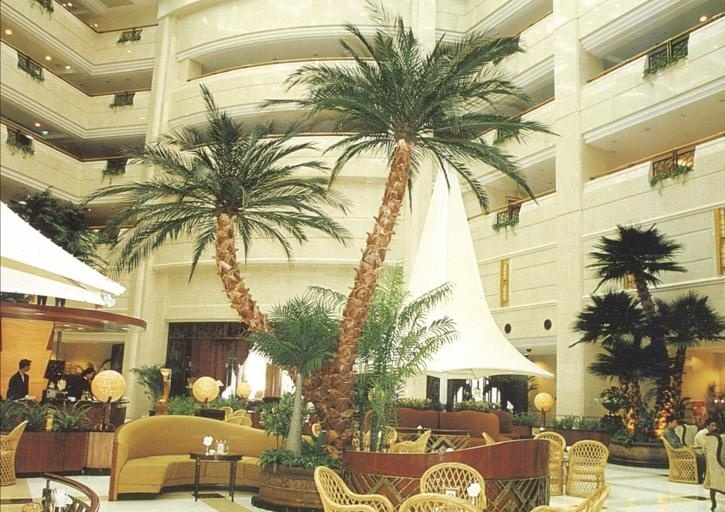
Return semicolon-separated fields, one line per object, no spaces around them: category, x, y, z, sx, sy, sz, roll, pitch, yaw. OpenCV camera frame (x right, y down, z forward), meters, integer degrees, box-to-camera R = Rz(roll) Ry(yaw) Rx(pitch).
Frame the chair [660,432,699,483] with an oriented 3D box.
chair;7.115;4.564;13.083;0.635;0.926;0.518;-6;-20;26

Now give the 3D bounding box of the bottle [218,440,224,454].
bottle;-2.420;3.252;10.000;0.134;0.205;0.064;7;-19;-13

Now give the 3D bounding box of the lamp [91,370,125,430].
lamp;-5.370;3.039;12.323;0.704;1.295;0.673;0;-11;5

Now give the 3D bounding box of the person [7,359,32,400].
person;-7.517;2.706;12.891;0.420;0.961;1.753;13;-20;-27
